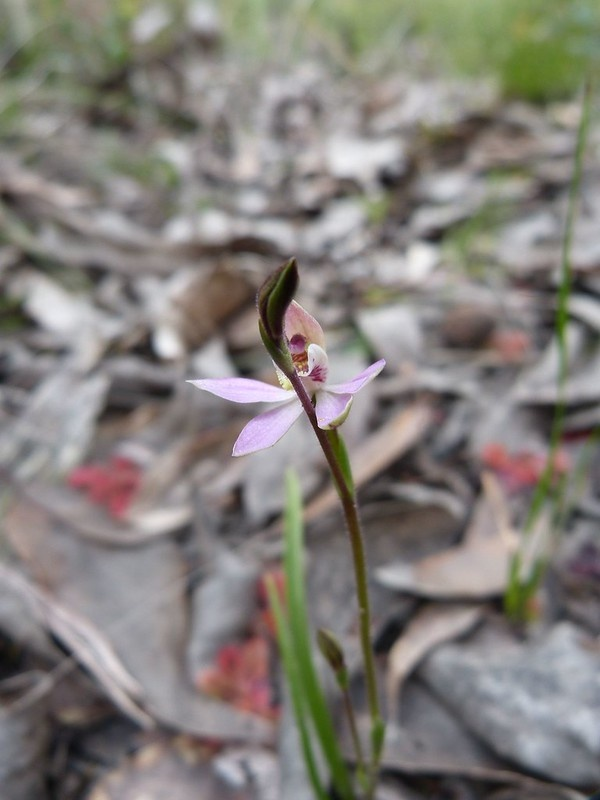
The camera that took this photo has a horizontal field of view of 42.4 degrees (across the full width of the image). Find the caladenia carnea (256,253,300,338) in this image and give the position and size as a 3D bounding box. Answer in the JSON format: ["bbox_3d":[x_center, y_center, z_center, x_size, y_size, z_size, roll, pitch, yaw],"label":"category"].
[{"bbox_3d":[-0.020,-0.090,0.688,0.029,0.030,0.075,17,100,7],"label":"caladenia carnea"}]

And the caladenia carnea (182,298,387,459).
[{"bbox_3d":[-0.021,-0.024,0.768,0.159,0.119,0.164,-27,47,-7],"label":"caladenia carnea"}]
